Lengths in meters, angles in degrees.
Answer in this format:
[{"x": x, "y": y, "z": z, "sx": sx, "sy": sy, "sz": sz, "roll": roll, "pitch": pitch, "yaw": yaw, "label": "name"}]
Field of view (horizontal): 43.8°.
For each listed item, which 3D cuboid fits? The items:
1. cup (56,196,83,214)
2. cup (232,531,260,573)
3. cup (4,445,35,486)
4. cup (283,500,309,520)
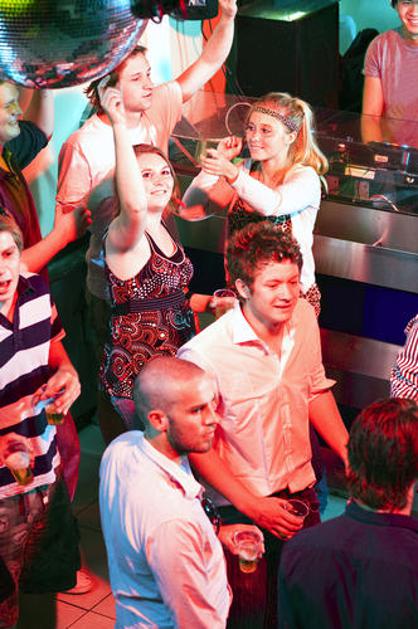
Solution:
[{"x": -0.500, "y": -0.393, "z": 1.843, "sx": 0.068, "sy": 0.026, "sz": 0.051, "roll": -25, "pitch": 29, "yaw": -33, "label": "cup"}, {"x": 0.118, "y": 0.770, "z": 1.718, "sx": 0.106, "sy": 0.121, "sz": 0.124, "roll": 0, "pitch": 39, "yaw": -2, "label": "cup"}, {"x": -0.628, "y": 0.493, "z": 1.710, "sx": 0.085, "sy": 0.110, "sz": 0.051, "roll": -33, "pitch": 25, "yaw": -36, "label": "cup"}, {"x": 0.322, "y": 0.725, "z": 1.936, "sx": 0.086, "sy": 0.084, "sz": 0.074, "roll": 3, "pitch": 50, "yaw": 3, "label": "cup"}]
